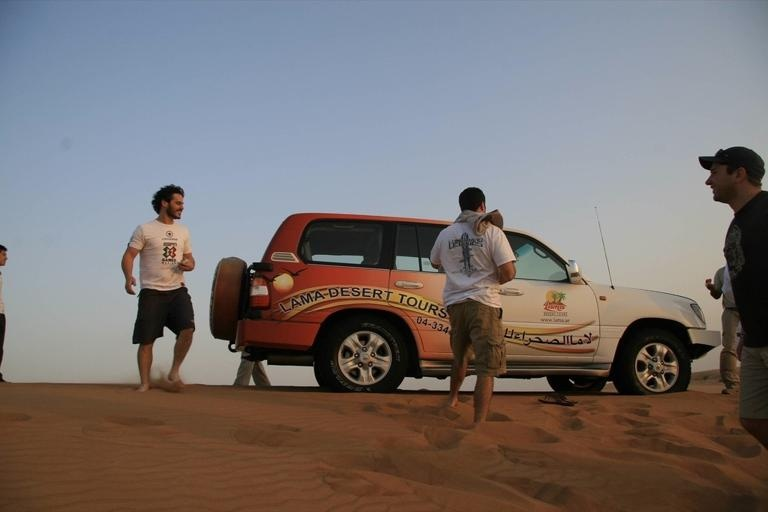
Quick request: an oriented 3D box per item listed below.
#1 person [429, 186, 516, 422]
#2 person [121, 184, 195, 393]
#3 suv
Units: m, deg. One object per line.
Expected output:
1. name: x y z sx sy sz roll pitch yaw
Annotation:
1. person: 0.917 0.461 5.407 0.530 2.385 0.836 4 -4 -33
2. person: -2.814 0.373 6.460 0.824 2.550 0.451 4 -4 -30
3. suv: 0.611 0.772 7.946 7.390 2.439 2.700 0 -4 -11
